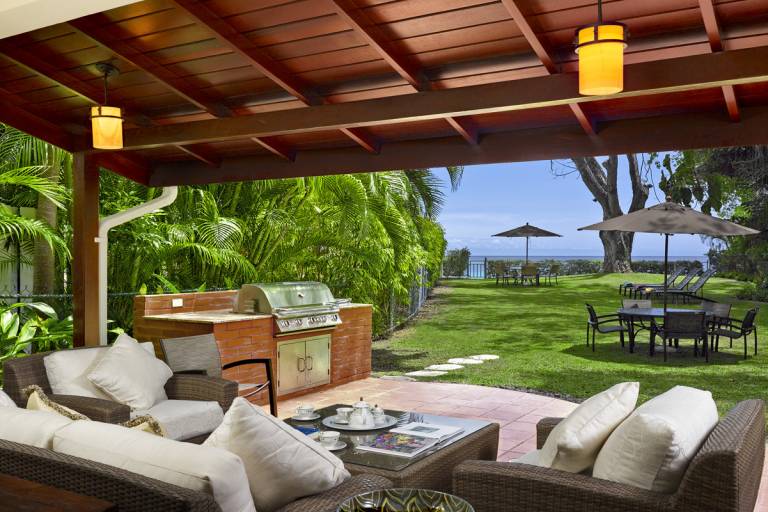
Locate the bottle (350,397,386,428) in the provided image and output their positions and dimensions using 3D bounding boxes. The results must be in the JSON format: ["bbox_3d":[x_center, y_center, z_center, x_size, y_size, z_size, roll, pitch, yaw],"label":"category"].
[{"bbox_3d":[-0.116,1.215,3.629,0.191,0.199,0.266,1,0,2],"label":"bottle"}]

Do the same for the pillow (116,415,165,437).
[{"bbox_3d":[-1.115,0.781,2.150,0.204,0.077,0.132,3,-3,-10],"label":"pillow"}]

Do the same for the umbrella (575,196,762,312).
[{"bbox_3d":[4.875,-0.264,8.577,2.988,1.622,2.739,1,4,19],"label":"umbrella"}]

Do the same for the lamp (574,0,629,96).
[{"bbox_3d":[1.299,-1.177,2.749,0.277,0.379,0.211,2,-4,-23],"label":"lamp"}]

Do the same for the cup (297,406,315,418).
[{"bbox_3d":[-0.624,1.238,3.744,0.127,0.053,0.093,1,3,12],"label":"cup"}]

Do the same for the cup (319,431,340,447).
[{"bbox_3d":[-0.366,1.216,3.094,0.107,0.046,0.093,-2,-1,-4],"label":"cup"}]

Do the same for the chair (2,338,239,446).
[{"bbox_3d":[-2.240,1.121,3.965,1.315,0.820,1.333,-5,-9,29],"label":"chair"}]

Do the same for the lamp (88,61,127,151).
[{"bbox_3d":[-2.682,-1.422,4.470,0.251,0.894,0.771,3,-4,-32],"label":"lamp"}]

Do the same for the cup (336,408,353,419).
[{"bbox_3d":[-0.305,1.222,3.648,0.102,0.042,0.105,0,-4,0],"label":"cup"}]
